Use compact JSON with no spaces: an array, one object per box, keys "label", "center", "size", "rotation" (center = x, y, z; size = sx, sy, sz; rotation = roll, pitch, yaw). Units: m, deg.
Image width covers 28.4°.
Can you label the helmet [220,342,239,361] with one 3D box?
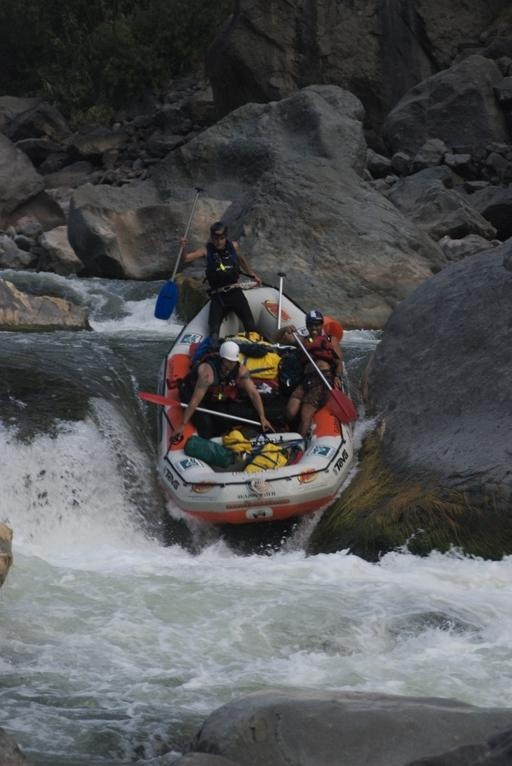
[{"label":"helmet","center":[-0.222,-0.287,9.342],"size":[0.155,0.096,0.192],"rotation":[1,29,-34]}]

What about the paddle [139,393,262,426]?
[{"label":"paddle","center":[-0.458,0.250,9.634],"size":[1.065,0.055,0.102],"rotation":[13,56,0]}]

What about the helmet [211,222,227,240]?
[{"label":"helmet","center":[-0.381,-1.624,10.848],"size":[0.172,0.173,0.203],"rotation":[-1,4,-2]}]

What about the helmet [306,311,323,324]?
[{"label":"helmet","center":[0.597,-0.641,10.220],"size":[0.134,0.155,0.139],"rotation":[-1,51,-5]}]
